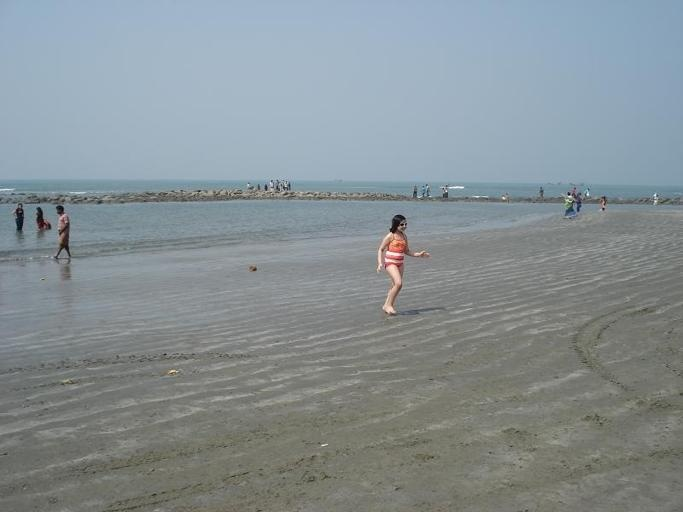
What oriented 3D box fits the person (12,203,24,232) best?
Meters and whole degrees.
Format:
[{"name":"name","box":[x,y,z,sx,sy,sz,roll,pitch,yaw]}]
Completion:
[{"name":"person","box":[-15.032,-1.752,25.776,0.419,1.332,1.289,-13,16,-31]}]
